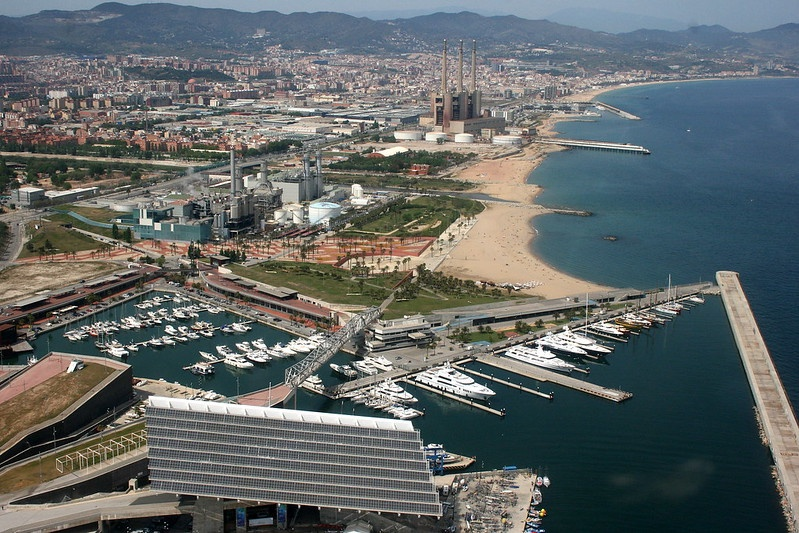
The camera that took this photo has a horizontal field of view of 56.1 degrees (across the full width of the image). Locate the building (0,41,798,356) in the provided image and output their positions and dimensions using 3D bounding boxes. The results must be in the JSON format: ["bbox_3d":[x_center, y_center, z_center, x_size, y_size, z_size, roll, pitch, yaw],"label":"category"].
[{"bbox_3d":[-1.395,-13.047,107.517,107.966,12.708,88.112,10,28,23],"label":"building"}]
